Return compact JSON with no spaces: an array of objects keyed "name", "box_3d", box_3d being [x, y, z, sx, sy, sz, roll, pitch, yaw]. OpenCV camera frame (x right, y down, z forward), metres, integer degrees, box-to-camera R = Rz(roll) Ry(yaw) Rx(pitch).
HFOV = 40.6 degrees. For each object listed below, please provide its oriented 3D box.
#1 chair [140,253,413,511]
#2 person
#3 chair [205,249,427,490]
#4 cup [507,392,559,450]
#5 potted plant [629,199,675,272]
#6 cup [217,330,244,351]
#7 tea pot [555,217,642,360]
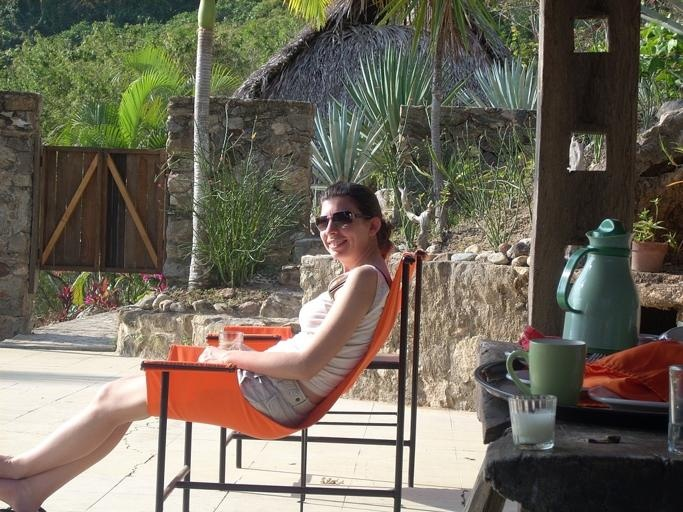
[{"name":"chair","box_3d":[-0.276,0.807,4.936,1.184,1.285,1.471,2,-2,5]},{"name":"person","box_3d":[-0.811,0.691,5.269,2.213,1.652,1.163,-4,-15,4]},{"name":"chair","box_3d":[-0.094,0.703,5.510,1.005,1.530,1.447,3,-1,3]},{"name":"cup","box_3d":[0.769,0.655,3.758,0.193,0.236,0.219,6,17,35]},{"name":"potted plant","box_3d":[2.134,-0.126,6.601,0.206,0.441,0.302,-8,-5,28]},{"name":"cup","box_3d":[-0.570,0.429,4.752,0.091,0.097,0.090,2,3,0]},{"name":"tea pot","box_3d":[1.153,0.125,4.252,0.402,0.598,0.320,-6,16,-24]}]
